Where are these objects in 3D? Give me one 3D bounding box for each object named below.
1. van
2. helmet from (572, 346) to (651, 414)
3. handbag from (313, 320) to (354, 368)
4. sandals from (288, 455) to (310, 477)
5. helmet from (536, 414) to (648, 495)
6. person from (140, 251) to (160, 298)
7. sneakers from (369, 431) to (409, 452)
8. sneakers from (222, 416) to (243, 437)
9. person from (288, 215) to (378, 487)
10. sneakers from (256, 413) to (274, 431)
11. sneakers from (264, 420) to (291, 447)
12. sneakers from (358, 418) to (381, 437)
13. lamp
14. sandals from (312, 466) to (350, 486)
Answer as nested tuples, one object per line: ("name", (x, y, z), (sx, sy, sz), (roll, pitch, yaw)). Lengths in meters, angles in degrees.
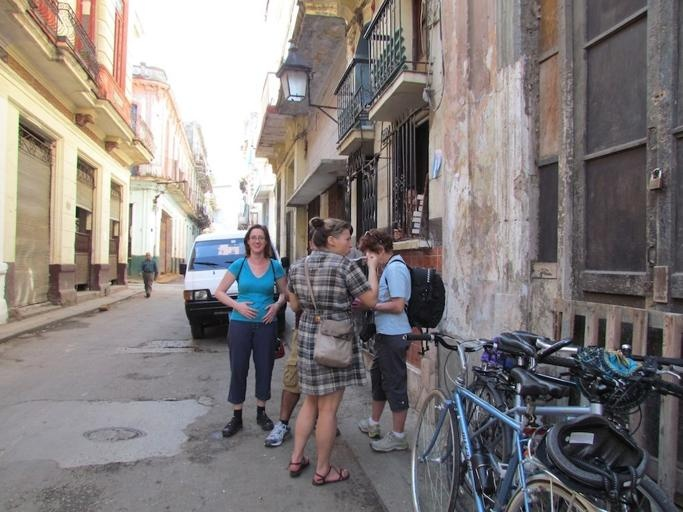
("van", (-2.523, 0.478, 10.689), (1.521, 1.975, 3.099), (-1, -5, -6))
("helmet", (1.485, 0.693, 2.842), (0.358, 0.325, 0.138), (4, 4, 30))
("handbag", (-0.075, 0.730, 4.235), (0.275, 0.380, 0.138), (5, -20, -7))
("sandals", (-0.373, 1.847, 4.531), (0.083, 0.104, 0.235), (0, 0, 11))
("helmet", (1.311, 1.050, 2.664), (0.370, 0.171, 0.414), (-7, 39, 9))
("person", (-7.209, 0.714, 19.231), (0.546, 1.659, 2.484), (0, 4, -20))
("sneakers", (0.463, 1.772, 4.883), (0.310, 0.175, 0.168), (1, -7, -10))
("sneakers", (-1.112, 1.736, 5.202), (0.087, 0.133, 0.264), (-2, -8, 16))
("person", (-0.092, 0.808, 4.426), (0.766, 2.251, 0.497), (1, 3, -4))
("sneakers", (-0.803, 1.749, 5.395), (0.093, 0.113, 0.203), (2, -4, -36))
("sneakers", (-0.642, 1.754, 5.030), (0.108, 0.156, 0.310), (-1, -14, 13))
("sneakers", (0.287, 1.739, 5.250), (0.105, 0.138, 0.264), (-4, 9, -21))
("lamp", (-0.321, -3.690, 10.677), (2.190, 1.089, 0.564), (0, 10, -20))
("sandals", (-0.094, 1.840, 4.392), (0.260, 0.140, 0.144), (-3, 1, -30))
